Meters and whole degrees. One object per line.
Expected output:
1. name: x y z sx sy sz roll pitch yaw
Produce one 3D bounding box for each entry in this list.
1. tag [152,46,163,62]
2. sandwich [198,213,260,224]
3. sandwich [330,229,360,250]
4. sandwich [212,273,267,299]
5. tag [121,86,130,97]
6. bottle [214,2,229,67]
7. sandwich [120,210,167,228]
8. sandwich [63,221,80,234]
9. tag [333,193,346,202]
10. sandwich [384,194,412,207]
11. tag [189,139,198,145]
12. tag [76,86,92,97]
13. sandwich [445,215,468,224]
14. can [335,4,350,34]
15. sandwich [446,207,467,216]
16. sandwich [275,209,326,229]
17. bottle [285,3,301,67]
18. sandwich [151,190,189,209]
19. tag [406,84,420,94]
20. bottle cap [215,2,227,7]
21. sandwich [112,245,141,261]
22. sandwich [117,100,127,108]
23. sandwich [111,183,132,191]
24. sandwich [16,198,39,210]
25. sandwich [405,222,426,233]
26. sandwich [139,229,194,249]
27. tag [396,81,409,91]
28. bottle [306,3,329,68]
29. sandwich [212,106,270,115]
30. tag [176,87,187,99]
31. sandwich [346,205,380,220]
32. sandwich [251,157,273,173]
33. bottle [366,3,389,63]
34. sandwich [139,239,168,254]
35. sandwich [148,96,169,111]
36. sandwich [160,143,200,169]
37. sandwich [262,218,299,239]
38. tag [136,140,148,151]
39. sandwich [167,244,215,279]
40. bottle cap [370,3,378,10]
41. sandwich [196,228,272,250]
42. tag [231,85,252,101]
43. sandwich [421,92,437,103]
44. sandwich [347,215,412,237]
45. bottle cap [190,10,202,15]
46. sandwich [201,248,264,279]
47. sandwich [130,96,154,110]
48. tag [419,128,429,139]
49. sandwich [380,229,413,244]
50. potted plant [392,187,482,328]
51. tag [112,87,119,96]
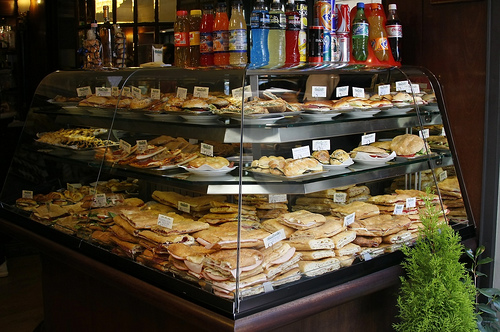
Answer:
1. tag: -0.661 -0.785 2.527 0.028 0.090 0.112 5 6 15
2. sandwich: -0.091 0.250 1.706 0.130 0.025 0.102 3 5 24
3. sandwich: 0.480 0.368 1.782 0.113 0.028 0.079 -18 24 -23
4. sandwich: -0.059 0.482 1.490 0.129 0.035 0.122 -2 2 -43
5. tag: -0.735 -0.438 2.101 0.072 0.059 0.034 4 14 27
6. bottle: -0.163 -0.748 2.018 0.094 0.355 0.202 -5 13 -4
7. sandwich: -0.573 0.270 1.866 0.133 0.027 0.131 -7 16 -40
8. sandwich: -1.066 0.360 2.111 0.096 0.025 0.095 2 8 37
9. tag: 0.483 0.169 1.926 0.064 0.036 0.007 0 -4 -24
10. sandwich: 0.854 0.196 2.030 0.174 0.068 0.030 -6 13 -19
11. tag: -0.288 -0.122 1.774 0.032 0.024 0.007 3 -1 16
12. tag: -1.084 -0.485 2.313 0.105 0.061 0.013 -2 -19 18
13. sandwich: 1.281 0.322 2.181 0.097 0.019 0.090 -5 12 -31
14. can: 0.591 -0.934 2.263 0.076 0.192 0.106 2 14 22
15. sandwich: 1.276 0.266 2.170 0.085 0.021 0.088 -1 -2 45
16. sandwich: 0.258 0.276 1.790 0.154 0.036 0.165 2 5 44
17. bottle: 0.255 -0.776 2.074 0.109 0.321 0.051 -5 13 -8
18. sandwich: -0.443 0.160 1.921 0.125 0.031 0.120 18 8 21
19. tag: 0.970 -0.459 2.114 0.082 0.047 0.008 3 -12 -22
20. bottle cap: -0.176 -0.932 2.062 0.071 0.023 0.068 10 20 25
21. sandwich: -0.657 0.447 1.829 0.099 0.024 0.089 12 7 5
22. sandwich: -0.749 -0.360 2.076 0.055 0.044 0.015 8 -2 9
23. sandwich: -0.738 0.118 2.003 0.090 0.021 0.046 -1 6 -7
24. sandwich: -1.519 0.238 2.413 0.117 0.043 0.120 5 0 36
25. sandwich: 0.926 0.337 1.998 0.089 0.022 0.061 -16 20 -24
26. sandwich: -0.406 0.349 1.715 0.123 0.026 0.117 7 6 37
27. tag: 0.903 -0.471 2.093 0.086 0.057 0.024 -7 13 -19
28. bottle: 0.411 -0.808 2.151 0.117 0.367 0.242 -1 13 12
29. sandwich: -0.053 -0.253 1.636 0.151 0.018 0.083 -1 4 15
30. tag: -0.366 -0.388 1.903 0.091 0.075 0.011 1 -9 34
31. sandwich: 0.631 0.236 1.955 0.116 0.031 0.107 -10 13 -30
32. sandwich: 0.050 -0.003 1.639 0.079 0.025 0.073 8 21 18
33. bottle: 0.862 -0.892 2.382 0.141 0.399 0.153 -3 13 1
34. sandwich: -0.470 0.379 1.727 0.091 0.018 0.075 18 8 35
35. sandwich: -0.509 -0.336 1.981 0.130 0.062 0.028 -22 -39 21
36. sandwich: -0.356 -0.056 1.792 0.151 0.042 0.143 -16 4 31
37. sandwich: 0.128 0.298 1.712 0.108 0.026 0.112 21 13 42
38. tag: -0.593 -0.111 1.949 0.075 0.060 0.007 0 -4 11
39. sandwich: -0.285 0.410 1.603 0.168 0.052 0.162 13 17 28
40. bottle cap: 0.839 -1.073 2.389 0.044 0.026 0.041 -2 4 -35
41. sandwich: -0.074 0.323 1.597 0.351 0.082 0.177 -3 11 -5
42. tag: -0.035 -0.334 1.622 0.090 0.051 0.004 -8 -10 26
43. sandwich: 1.093 -0.414 2.160 0.063 0.028 0.085 29 52 33
44. sandwich: 0.699 0.326 1.892 0.165 0.042 0.161 -7 4 -43
45. bottle cap: -0.346 -0.969 2.242 0.065 0.038 0.082 -5 12 -11
46. sandwich: -0.074 0.406 1.566 0.310 0.065 0.254 4 -1 -27
47. sandwich: -0.626 -0.349 2.046 0.125 0.079 0.037 -8 -40 22
48. tag: 1.032 -0.192 2.102 0.064 0.058 0.009 15 -11 -23
49. sandwich: 0.793 0.366 1.911 0.102 0.025 0.097 -5 -3 -39
50. potted plant: 1.006 0.525 1.875 0.391 0.774 0.570 4 14 30
51. tag: -0.821 -0.450 2.150 0.075 0.063 0.010 -3 -1 41
